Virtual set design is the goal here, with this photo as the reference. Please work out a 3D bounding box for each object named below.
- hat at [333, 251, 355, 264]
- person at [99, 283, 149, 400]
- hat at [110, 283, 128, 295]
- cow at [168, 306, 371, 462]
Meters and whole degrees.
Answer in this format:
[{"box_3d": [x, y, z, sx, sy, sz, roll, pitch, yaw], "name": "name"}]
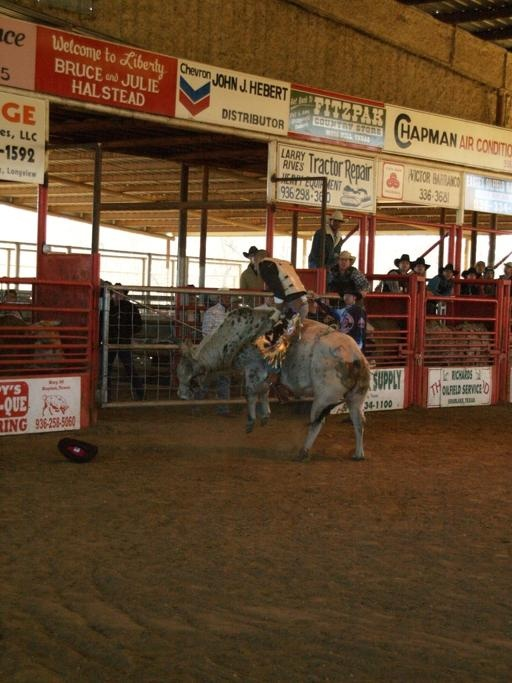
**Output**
[{"box_3d": [1.456, -1.366, 10.373, 0.373, 0.136, 0.370, 8, -19, 15], "name": "hat"}, {"box_3d": [-1.967, 0.057, 9.593, 0.505, 1.747, 1.296, 3, -2, -2], "name": "person"}, {"box_3d": [-2.012, -0.763, 9.269, 0.192, 0.067, 0.277, 5, 0, 24], "name": "hat"}, {"box_3d": [0.173, 0.405, 7.594, 2.543, 1.483, 0.736, 9, 2, 28], "name": "cow"}]
